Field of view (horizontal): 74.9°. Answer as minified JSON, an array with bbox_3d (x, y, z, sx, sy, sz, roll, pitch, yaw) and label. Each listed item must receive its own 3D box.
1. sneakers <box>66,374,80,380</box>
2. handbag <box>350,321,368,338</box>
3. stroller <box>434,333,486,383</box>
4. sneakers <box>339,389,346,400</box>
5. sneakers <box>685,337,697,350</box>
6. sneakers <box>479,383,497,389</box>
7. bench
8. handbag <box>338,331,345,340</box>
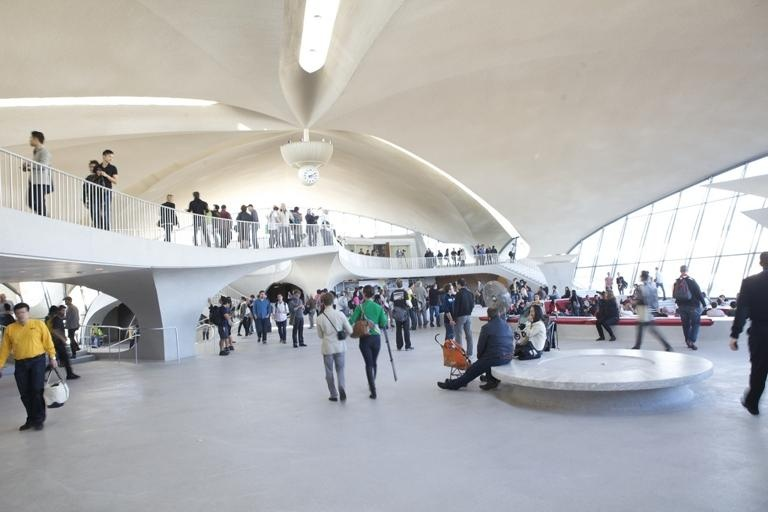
[{"bbox_3d":[-9.403,3.680,15.237,0.369,0.135,0.276,-1,-7,19],"label":"sneakers"},{"bbox_3d":[-0.506,1.602,10.966,0.306,0.380,0.167,-4,-17,13],"label":"handbag"},{"bbox_3d":[1.772,2.489,12.060,1.039,1.813,0.592,-8,-19,20],"label":"stroller"},{"bbox_3d":[-0.894,3.063,11.084,0.092,0.267,0.102,-11,-7,-6],"label":"sneakers"},{"bbox_3d":[9.017,2.572,14.674,0.209,0.282,0.615,-6,-17,19],"label":"sneakers"},{"bbox_3d":[2.351,2.933,11.259,0.371,0.169,0.132,-4,-4,23],"label":"sneakers"},{"bbox_3d":[7.790,2.465,17.899,7.240,1.036,1.494,-1,4,38],"label":"bench"},{"bbox_3d":[-0.893,1.724,10.812,0.168,0.162,0.287,0,-8,5],"label":"handbag"}]
